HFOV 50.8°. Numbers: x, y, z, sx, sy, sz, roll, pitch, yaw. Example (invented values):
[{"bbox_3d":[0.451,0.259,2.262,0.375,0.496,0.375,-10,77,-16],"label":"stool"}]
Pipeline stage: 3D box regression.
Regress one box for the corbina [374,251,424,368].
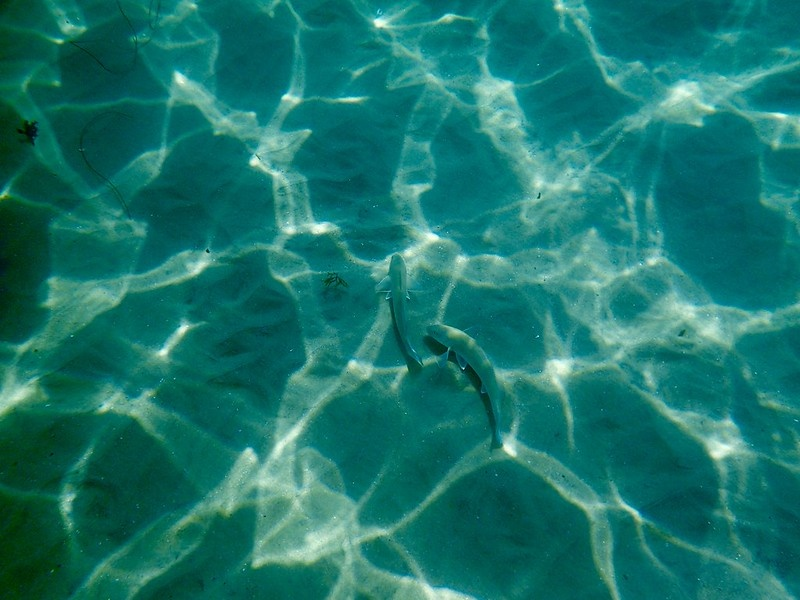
[{"bbox_3d":[-0.002,0.099,10.715,0.492,0.346,1.492,-15,61,-3],"label":"corbina"}]
